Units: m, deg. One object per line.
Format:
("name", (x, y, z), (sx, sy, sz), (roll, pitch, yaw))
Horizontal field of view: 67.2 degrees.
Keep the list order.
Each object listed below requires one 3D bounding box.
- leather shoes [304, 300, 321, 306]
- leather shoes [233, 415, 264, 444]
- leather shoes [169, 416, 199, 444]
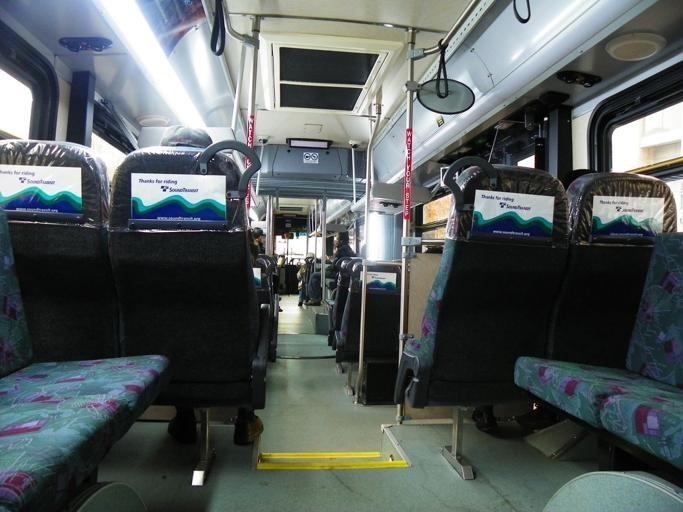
("leather shoes", (-0.745, 1.207, 13.482), (0.473, 0.209, 0.163), (4, -3, 15))
("leather shoes", (-0.589, 1.097, 3.264), (0.096, 0.123, 0.284), (1, -2, 9))
("leather shoes", (-1.005, 1.096, 3.257), (0.122, 0.175, 0.199), (3, 4, -20))
